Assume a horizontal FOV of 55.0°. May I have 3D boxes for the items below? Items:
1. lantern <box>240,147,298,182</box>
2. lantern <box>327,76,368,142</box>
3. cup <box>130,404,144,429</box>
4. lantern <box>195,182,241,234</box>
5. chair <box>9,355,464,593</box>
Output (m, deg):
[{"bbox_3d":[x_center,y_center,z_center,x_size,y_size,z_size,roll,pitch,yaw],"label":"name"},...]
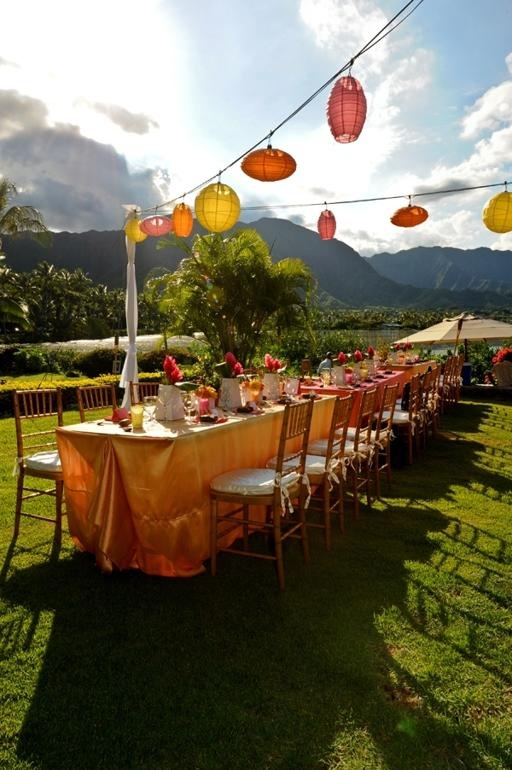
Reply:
[{"bbox_3d":[0.109,-1.744,3.865,0.436,0.329,0.207,-1,7,-6],"label":"lantern"},{"bbox_3d":[0.714,-2.125,3.778,0.289,0.426,0.272,3,7,23],"label":"lantern"},{"bbox_3d":[-0.667,0.182,2.771,0.065,0.132,0.186,-2,6,-14],"label":"cup"},{"bbox_3d":[-0.297,-1.377,3.755,0.349,0.331,0.534,-1,6,-7],"label":"lantern"},{"bbox_3d":[-0.026,0.556,3.278,1.244,1.019,2.191,6,9,44],"label":"chair"}]
